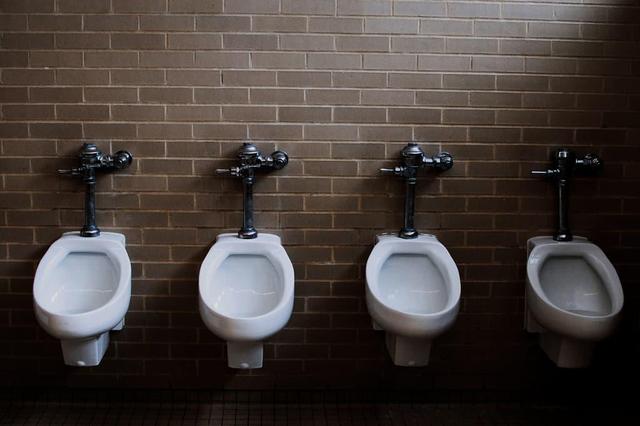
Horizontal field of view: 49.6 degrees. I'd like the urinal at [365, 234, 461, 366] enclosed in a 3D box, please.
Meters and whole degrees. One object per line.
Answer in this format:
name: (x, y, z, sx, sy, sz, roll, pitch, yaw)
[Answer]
urinal: (0.541, 0.560, 4.050, 0.515, 0.628, 0.815, 2, 21, -1)
